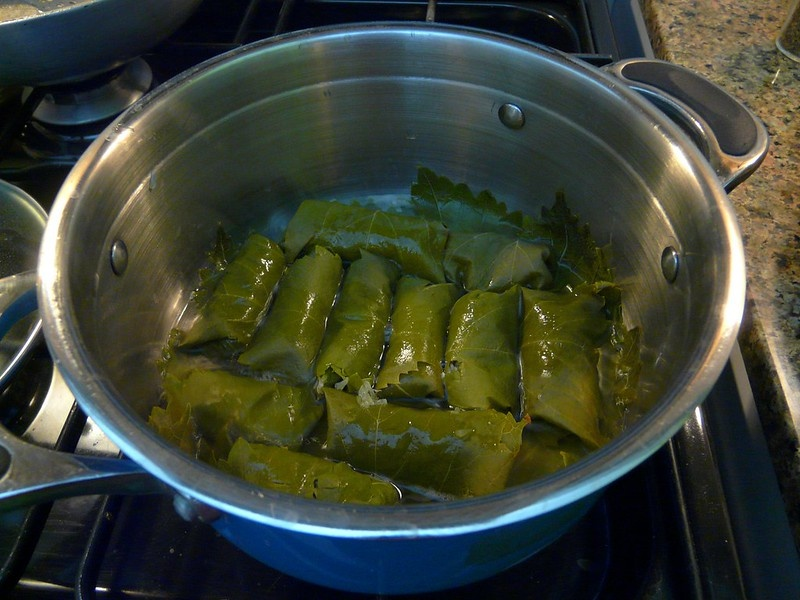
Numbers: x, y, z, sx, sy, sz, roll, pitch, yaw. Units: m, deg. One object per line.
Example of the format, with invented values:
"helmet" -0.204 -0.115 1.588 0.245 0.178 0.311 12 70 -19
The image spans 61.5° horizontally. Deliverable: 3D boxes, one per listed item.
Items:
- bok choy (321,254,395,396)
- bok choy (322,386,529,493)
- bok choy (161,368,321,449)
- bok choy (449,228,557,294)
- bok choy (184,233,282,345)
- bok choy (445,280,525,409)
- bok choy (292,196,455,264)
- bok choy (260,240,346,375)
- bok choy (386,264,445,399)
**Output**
"bok choy" -0.081 0.049 1.414 0.111 0.105 0.371 7 47 4
"bok choy" 0.039 0.236 1.128 0.298 0.110 0.176 6 77 10
"bok choy" -0.298 0.237 1.296 0.275 0.086 0.148 12 56 -2
"bok choy" 0.202 -0.087 1.415 0.150 0.050 0.146 5 71 13
"bok choy" -0.333 -0.011 1.399 0.117 0.087 0.267 21 66 10
"bok choy" 0.164 0.104 1.316 0.154 0.092 0.324 2 57 8
"bok choy" -0.083 -0.142 1.473 0.259 0.074 0.168 8 55 0
"bok choy" -0.193 0.010 1.386 0.111 0.092 0.275 23 55 -6
"bok choy" 0.035 0.080 1.376 0.129 0.090 0.297 1 43 7
